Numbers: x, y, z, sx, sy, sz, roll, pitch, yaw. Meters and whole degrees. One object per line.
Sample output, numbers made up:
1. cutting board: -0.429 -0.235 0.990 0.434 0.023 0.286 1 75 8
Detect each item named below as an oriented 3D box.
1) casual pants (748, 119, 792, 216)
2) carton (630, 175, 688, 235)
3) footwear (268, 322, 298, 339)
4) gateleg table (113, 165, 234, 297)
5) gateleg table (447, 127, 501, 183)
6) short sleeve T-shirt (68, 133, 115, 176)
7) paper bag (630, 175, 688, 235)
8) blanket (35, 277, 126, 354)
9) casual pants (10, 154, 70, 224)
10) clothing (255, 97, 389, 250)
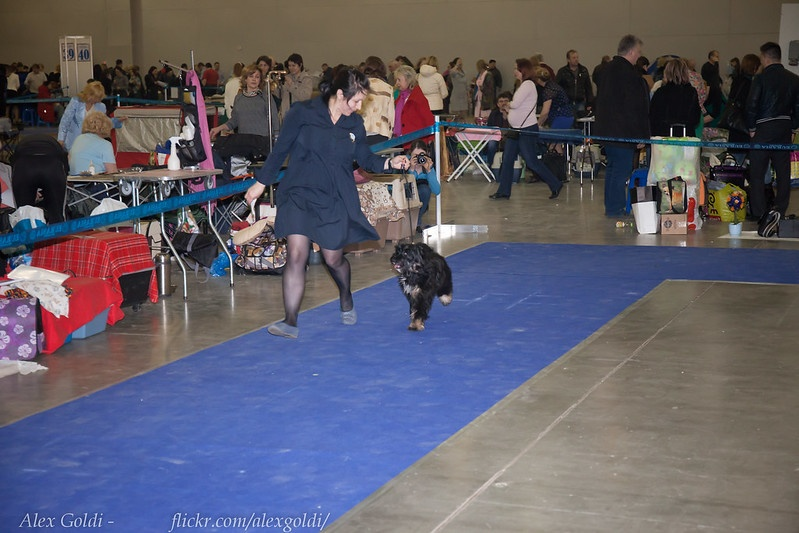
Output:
1. casual pants: 4.882 -1.243 8.828 0.527 1.349 0.592 6 17 26
2. carton: 3.342 -0.760 8.573 0.775 0.729 0.635 2 0 20
3. footwear: -0.881 0.491 5.124 0.199 0.082 0.112 14 -25 5
4. gateleg table: -2.517 -0.543 6.849 0.823 0.738 0.575 10 -7 5
5. gateleg table: 1.594 -2.302 14.230 1.212 1.061 1.248 7 -7 -2
6. short sleeve T-shirt: -3.364 -1.220 7.278 0.578 0.423 0.390 5 16 24
7. paper bag: 3.361 -0.739 8.570 0.775 0.729 0.635 2 0 20
8. blanket: -2.435 0.363 5.160 0.499 0.252 0.507 0 14 14
9. casual pants: -3.432 -0.743 6.417 0.484 0.632 0.245 -6 16 -16
10. clothing: -0.523 -0.624 4.997 1.142 1.181 0.694 0 18 -23
